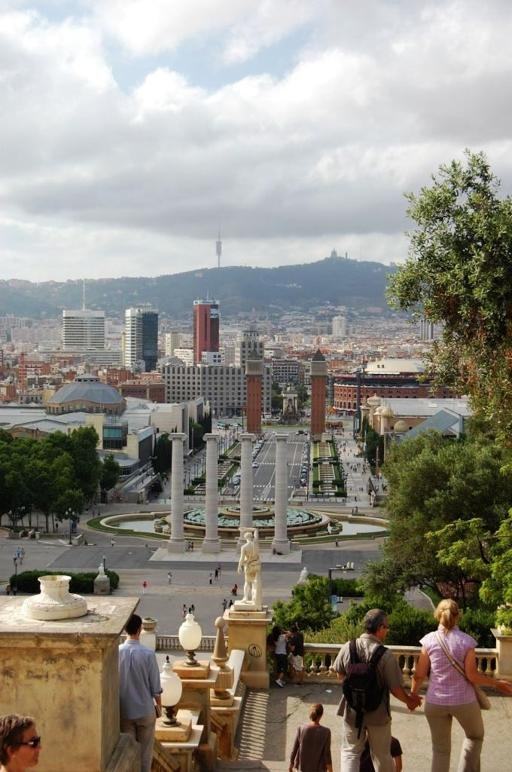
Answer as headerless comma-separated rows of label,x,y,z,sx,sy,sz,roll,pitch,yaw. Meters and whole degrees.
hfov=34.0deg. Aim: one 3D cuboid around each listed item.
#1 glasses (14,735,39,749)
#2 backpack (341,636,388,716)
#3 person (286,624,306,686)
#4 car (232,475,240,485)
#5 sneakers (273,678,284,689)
glasses,-1.340,2.120,4.975,0.092,0.033,0.072,-2,1,2
backpack,1.096,2.958,8.389,0.484,0.691,0.399,-3,-2,2
person,0.749,5.083,15.800,0.310,0.858,0.696,-3,2,3
car,-2.515,11.672,104.348,0.937,0.661,1.984,0,3,3
sneakers,0.427,5.537,15.549,0.143,0.205,0.070,-19,-30,-8
